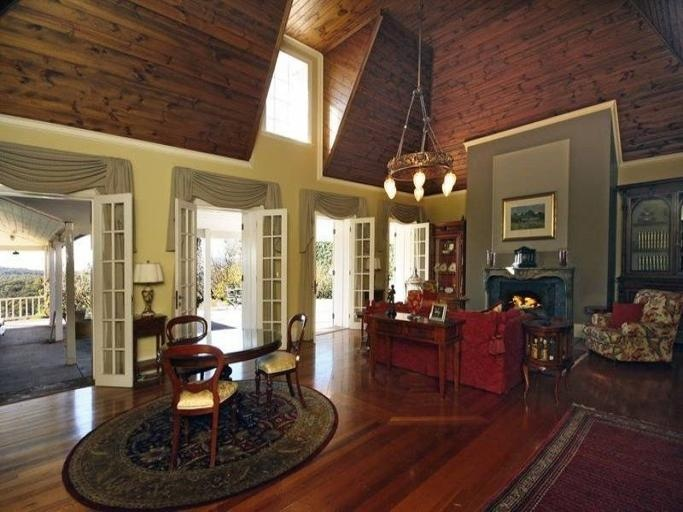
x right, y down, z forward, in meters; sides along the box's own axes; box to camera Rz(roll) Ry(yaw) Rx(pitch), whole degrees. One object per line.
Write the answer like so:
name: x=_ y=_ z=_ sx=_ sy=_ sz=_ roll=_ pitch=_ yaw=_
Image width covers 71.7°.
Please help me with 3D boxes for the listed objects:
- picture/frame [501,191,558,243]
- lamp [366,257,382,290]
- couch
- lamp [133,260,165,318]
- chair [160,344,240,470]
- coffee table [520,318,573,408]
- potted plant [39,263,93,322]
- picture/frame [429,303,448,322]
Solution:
picture/frame: x=3.737 y=-0.780 z=9.251 sx=0.066 sy=1.023 sz=0.949 roll=0 pitch=1 yaw=-43
lamp: x=0.643 y=0.358 z=9.847 sx=0.355 sy=0.531 sz=0.849 roll=-3 pitch=-2 yaw=8
couch: x=1.553 y=1.360 z=6.842 sx=2.088 sy=1.069 sz=1.013 roll=-5 pitch=-2 yaw=22
lamp: x=-2.968 y=0.481 z=7.297 sx=0.436 sy=0.850 sz=0.435 roll=-2 pitch=-2 yaw=-22
chair: x=-1.627 y=1.669 z=5.471 sx=0.794 sy=1.372 sz=0.764 roll=-3 pitch=-2 yaw=-5
coffee table: x=2.901 y=1.397 z=6.648 sx=0.685 sy=1.011 sz=0.737 roll=-4 pitch=-2 yaw=32
potted plant: x=-5.667 y=0.780 z=9.794 sx=0.824 sy=1.151 sz=0.355 roll=1 pitch=22 yaw=10
picture/frame: x=1.367 y=0.790 z=6.667 sx=0.237 sy=0.209 sz=0.280 roll=-4 pitch=-2 yaw=8
